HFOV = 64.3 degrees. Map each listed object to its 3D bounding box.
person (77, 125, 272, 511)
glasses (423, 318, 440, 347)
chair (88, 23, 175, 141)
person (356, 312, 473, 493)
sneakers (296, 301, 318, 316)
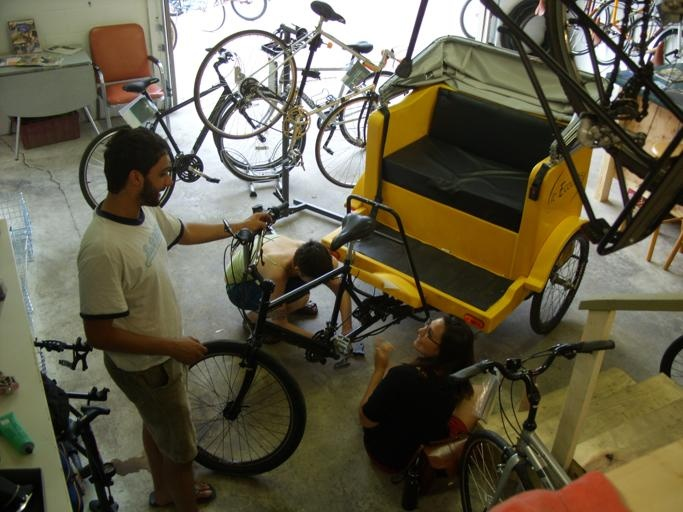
[{"bbox_3d":[-1.001,0.447,2.885,0.547,2.070,0.930,-6,33,-15],"label":"person"},{"bbox_3d":[0.530,0.446,3.160,0.121,0.037,0.118,18,25,-23],"label":"glasses"},{"bbox_3d":[-2.474,-1.953,6.301,0.828,1.247,0.802,27,32,35],"label":"chair"},{"bbox_3d":[0.435,0.785,3.397,0.661,1.034,0.594,5,27,-38],"label":"person"},{"bbox_3d":[-0.273,0.436,4.461,0.152,0.057,0.085,-16,45,-12],"label":"sneakers"}]
